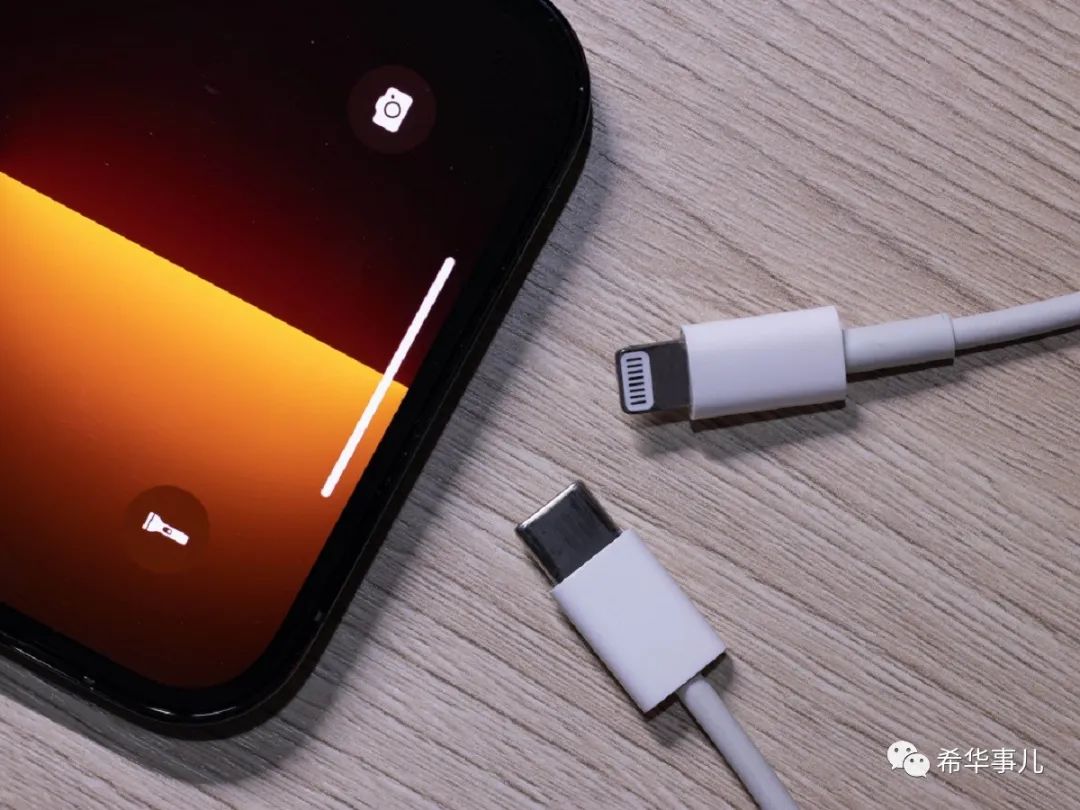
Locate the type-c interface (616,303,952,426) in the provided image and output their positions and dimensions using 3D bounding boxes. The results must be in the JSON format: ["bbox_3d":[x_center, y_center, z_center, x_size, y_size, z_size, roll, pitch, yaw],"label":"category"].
[{"bbox_3d":[0.125,-0.018,0.680,0.201,0.047,0.064,-8,92,3],"label":"type-c interface"}]

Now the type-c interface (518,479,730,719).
[{"bbox_3d":[0.045,0.099,0.644,0.070,0.032,0.133,-38,82,-1],"label":"type-c interface"}]
